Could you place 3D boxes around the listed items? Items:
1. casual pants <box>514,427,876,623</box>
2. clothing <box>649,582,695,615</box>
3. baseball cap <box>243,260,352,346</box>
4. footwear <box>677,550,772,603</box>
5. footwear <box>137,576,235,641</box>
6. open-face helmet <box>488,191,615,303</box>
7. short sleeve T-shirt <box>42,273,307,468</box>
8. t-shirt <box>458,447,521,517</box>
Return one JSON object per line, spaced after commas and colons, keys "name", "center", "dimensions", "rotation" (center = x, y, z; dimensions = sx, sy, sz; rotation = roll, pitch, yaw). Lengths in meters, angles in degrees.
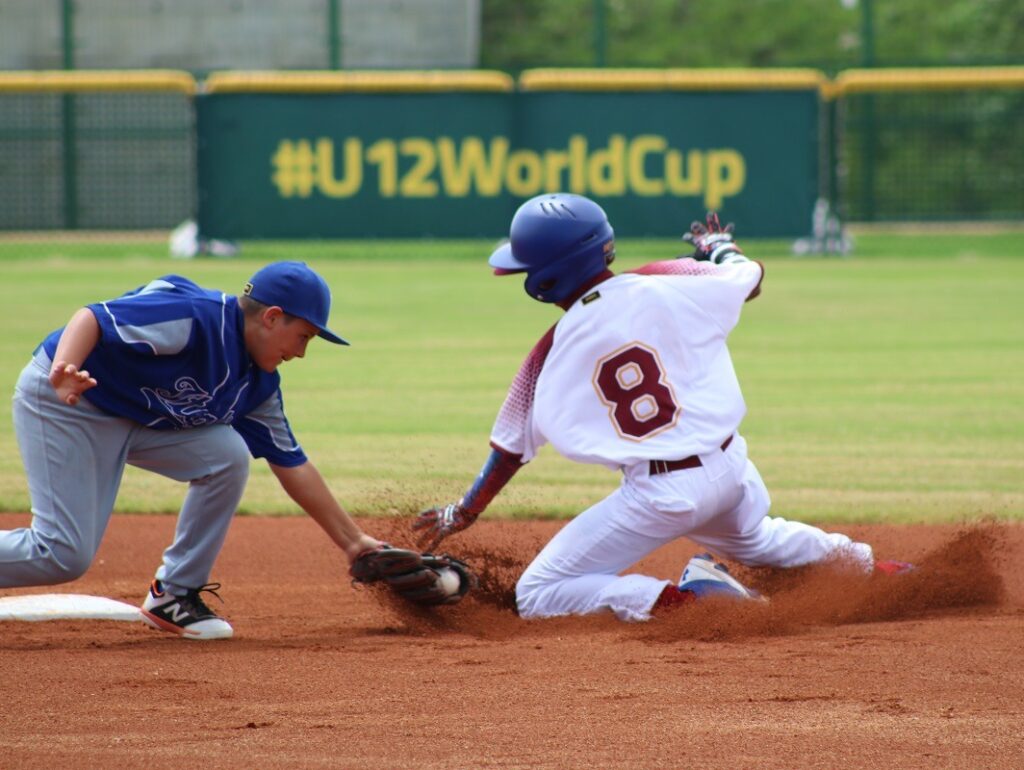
{"name": "casual pants", "center": [0.801, 0.819, 11.269], "dimensions": [1.946, 1.077, 1.580], "rotation": [-13, -30, 41]}
{"name": "clothing", "center": [0.927, 1.217, 11.090], "dimensions": [0.243, 0.177, 0.040], "rotation": [0, 7, -18]}
{"name": "baseball cap", "center": [-1.199, -0.488, 11.013], "dimensions": [0.560, 0.271, 0.340], "rotation": [24, -1, -12]}
{"name": "footwear", "center": [1.232, 1.119, 11.166], "dimensions": [0.448, 0.160, 0.240], "rotation": [19, -4, -2]}
{"name": "footwear", "center": [-1.936, 1.302, 11.266], "dimensions": [0.700, 0.292, 0.235], "rotation": [15, -4, 0]}
{"name": "open-face helmet", "center": [0.319, -0.843, 11.256], "dimensions": [0.806, 0.522, 0.526], "rotation": [-5, 24, 5]}
{"name": "short sleeve T-shirt", "center": [-1.781, -0.078, 10.903], "dimensions": [1.163, 1.097, 0.273], "rotation": [-1, 8, -26]}
{"name": "t-shirt", "center": [-0.064, 0.522, 11.372], "dimensions": [0.189, 0.163, 0.545], "rotation": [16, 38, 5]}
